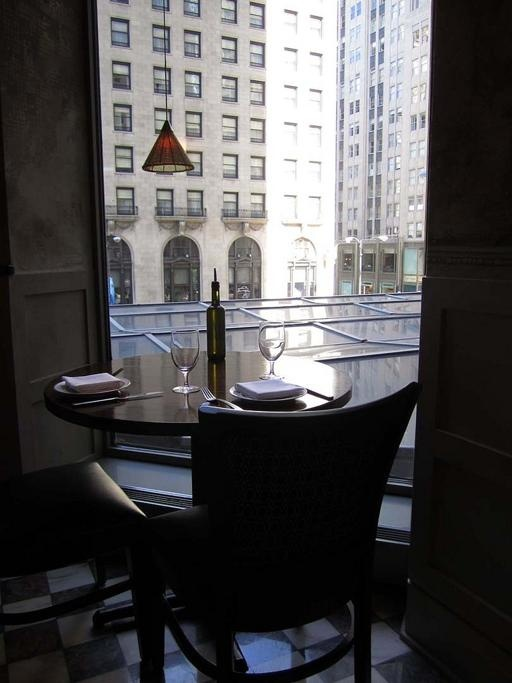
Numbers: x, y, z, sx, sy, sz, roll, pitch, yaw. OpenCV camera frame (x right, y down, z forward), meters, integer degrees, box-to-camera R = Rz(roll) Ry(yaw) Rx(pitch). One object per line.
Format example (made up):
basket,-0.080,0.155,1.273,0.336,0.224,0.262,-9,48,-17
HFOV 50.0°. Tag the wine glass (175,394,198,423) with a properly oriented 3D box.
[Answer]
wine glass,-0.134,0.128,1.057,0.035,0.044,0.037,1,-6,-1

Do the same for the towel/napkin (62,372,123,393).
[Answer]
towel/napkin,-0.359,0.089,1.218,0.127,0.026,0.147,-2,8,-36
